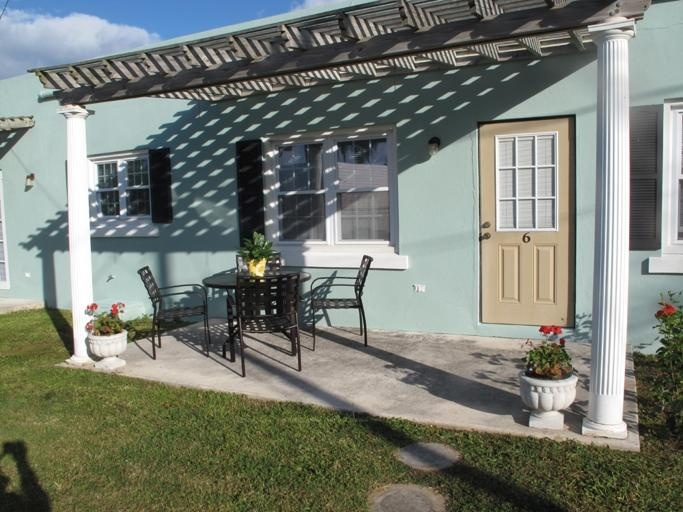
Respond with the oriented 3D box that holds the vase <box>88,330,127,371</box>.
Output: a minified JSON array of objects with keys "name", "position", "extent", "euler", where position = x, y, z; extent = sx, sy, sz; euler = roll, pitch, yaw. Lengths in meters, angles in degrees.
[{"name":"vase","position":[-2.740,1.098,7.272],"extent":[0.475,0.394,0.473],"euler":[0,3,7]}]

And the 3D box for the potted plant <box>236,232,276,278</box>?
[{"name":"potted plant","position":[-1.050,0.009,7.527],"extent":[0.472,0.479,0.399],"euler":[5,-8,-23]}]

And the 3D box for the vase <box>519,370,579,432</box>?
[{"name":"vase","position":[1.843,1.294,5.595],"extent":[0.561,0.468,0.551],"euler":[0,2,-9]}]

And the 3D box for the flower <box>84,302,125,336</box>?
[{"name":"flower","position":[-2.805,0.774,7.371],"extent":[0.456,0.319,0.444],"euler":[-1,-4,44]}]

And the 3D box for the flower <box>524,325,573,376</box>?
[{"name":"flower","position":[1.903,0.863,5.616],"extent":[0.455,0.458,0.459],"euler":[1,4,31]}]
